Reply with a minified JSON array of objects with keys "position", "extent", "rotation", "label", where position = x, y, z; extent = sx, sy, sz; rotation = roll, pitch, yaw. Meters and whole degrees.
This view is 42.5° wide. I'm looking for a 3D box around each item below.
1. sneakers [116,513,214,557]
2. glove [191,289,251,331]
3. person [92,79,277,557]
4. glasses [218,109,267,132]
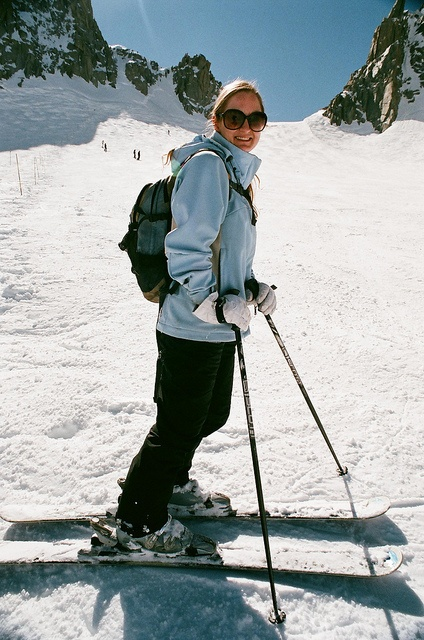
[{"position":[-0.246,1.127,2.942],"extent":[0.544,0.217,0.209],"rotation":[2,-4,-8],"label":"sneakers"},{"position":[0.050,-0.047,2.602],"extent":[0.233,0.119,0.172],"rotation":[27,10,0],"label":"glove"},{"position":[-0.120,0.037,2.981],"extent":[0.970,2.336,0.860],"rotation":[3,6,10],"label":"person"},{"position":[0.175,-1.021,2.800],"extent":[0.268,0.109,0.156],"rotation":[1,20,-15],"label":"glasses"}]
